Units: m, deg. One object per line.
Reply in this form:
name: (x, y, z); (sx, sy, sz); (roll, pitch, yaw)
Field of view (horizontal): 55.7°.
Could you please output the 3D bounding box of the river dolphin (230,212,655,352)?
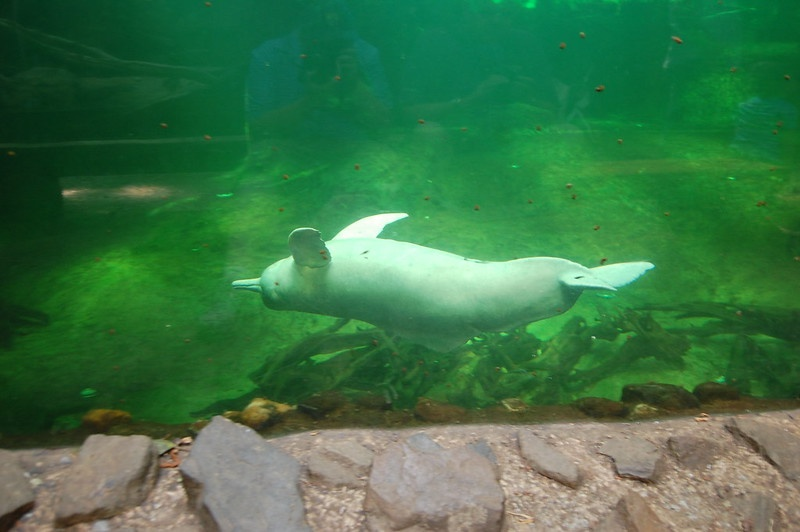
river dolphin: (0.117, 0.231, 5.432); (3.030, 1.617, 0.567); (-2, 73, 31)
